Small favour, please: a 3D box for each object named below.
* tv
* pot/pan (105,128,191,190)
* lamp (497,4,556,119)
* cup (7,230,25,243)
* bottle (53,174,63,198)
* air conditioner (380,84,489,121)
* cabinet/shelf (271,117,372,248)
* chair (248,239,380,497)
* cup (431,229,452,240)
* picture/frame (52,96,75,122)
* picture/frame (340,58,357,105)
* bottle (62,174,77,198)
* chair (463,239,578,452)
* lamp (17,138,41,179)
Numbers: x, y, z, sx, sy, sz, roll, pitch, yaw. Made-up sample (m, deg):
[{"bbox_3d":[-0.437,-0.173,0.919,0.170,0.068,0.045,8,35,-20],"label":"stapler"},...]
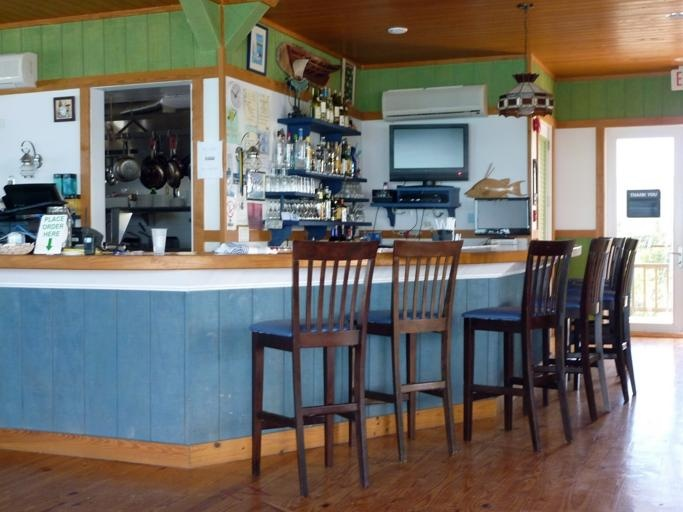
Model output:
[{"bbox_3d":[1.096,-1.230,7.865,0.773,0.600,0.228,1,1,15],"label":"tv"},{"bbox_3d":[-2.420,-1.231,8.377,1.050,0.798,0.785,0,4,1],"label":"pot/pan"},{"bbox_3d":[1.865,-1.876,6.566,0.486,1.030,1.348,1,5,15],"label":"lamp"},{"bbox_3d":[-2.272,-0.139,4.556,0.092,0.071,0.093,0,2,0],"label":"cup"},{"bbox_3d":[-2.809,-0.725,6.472,0.087,0.201,0.218,-2,5,-24],"label":"bottle"},{"bbox_3d":[1.128,-1.867,7.875,1.227,0.423,0.412,0,22,14],"label":"air conditioner"},{"bbox_3d":[-0.242,-0.763,6.788,0.324,1.082,1.638,-1,0,14],"label":"cabinet/shelf"},{"bbox_3d":[-0.169,0.601,3.972,0.744,1.429,0.818,0,4,-3],"label":"chair"},{"bbox_3d":[0.959,-0.200,6.164,0.199,0.148,0.114,1,-6,35],"label":"cup"},{"bbox_3d":[-2.747,-1.475,6.472,0.238,0.242,0.017,5,12,27],"label":"picture/frame"},{"bbox_3d":[0.092,-2.084,7.849,0.027,0.491,0.353,-4,18,-23],"label":"picture/frame"},{"bbox_3d":[-2.714,-0.708,6.513,0.160,0.239,0.020,0,4,2],"label":"bottle"},{"bbox_3d":[1.246,0.560,4.584,0.760,1.351,0.781,0,-3,0],"label":"chair"},{"bbox_3d":[-3.181,-0.988,6.626,0.292,0.396,0.107,2,5,24],"label":"lamp"}]
